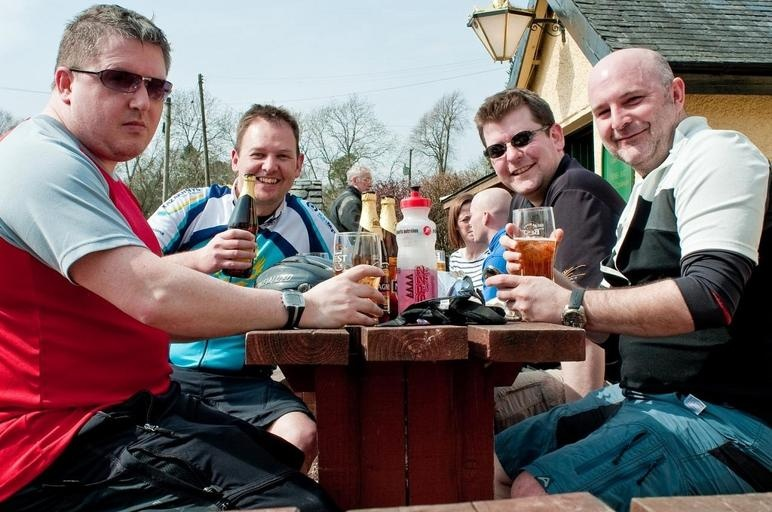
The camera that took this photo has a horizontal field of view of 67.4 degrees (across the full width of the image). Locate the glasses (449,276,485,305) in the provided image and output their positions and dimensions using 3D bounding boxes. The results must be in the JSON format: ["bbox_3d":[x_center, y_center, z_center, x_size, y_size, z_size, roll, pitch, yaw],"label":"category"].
[{"bbox_3d":[0.375,0.153,2.738,0.151,0.061,0.112,13,-5,-1],"label":"glasses"}]

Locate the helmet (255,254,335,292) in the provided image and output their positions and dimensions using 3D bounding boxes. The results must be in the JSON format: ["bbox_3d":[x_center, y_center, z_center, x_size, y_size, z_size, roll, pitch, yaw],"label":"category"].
[{"bbox_3d":[-0.460,0.057,2.905,0.293,0.216,0.217,4,1,3],"label":"helmet"}]
